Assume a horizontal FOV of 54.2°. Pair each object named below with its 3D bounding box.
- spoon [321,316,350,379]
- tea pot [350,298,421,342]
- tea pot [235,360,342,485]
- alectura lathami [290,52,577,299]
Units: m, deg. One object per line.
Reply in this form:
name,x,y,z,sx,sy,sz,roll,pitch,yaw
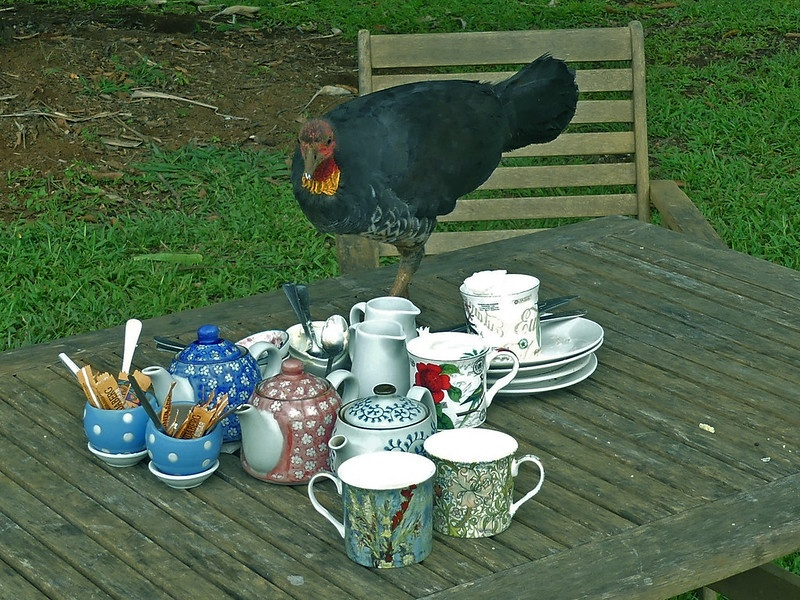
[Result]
spoon,-0.138,0.099,1.661,0.058,0.124,0.022,7,-9,4
tea pot,-0.009,0.029,1.730,0.172,0.110,0.084,8,37,17
tea pot,-0.197,0.210,1.495,0.272,0.185,0.279,0,18,0
alectura lathami,-0.035,-0.322,2.054,0.666,0.604,0.617,19,31,30
